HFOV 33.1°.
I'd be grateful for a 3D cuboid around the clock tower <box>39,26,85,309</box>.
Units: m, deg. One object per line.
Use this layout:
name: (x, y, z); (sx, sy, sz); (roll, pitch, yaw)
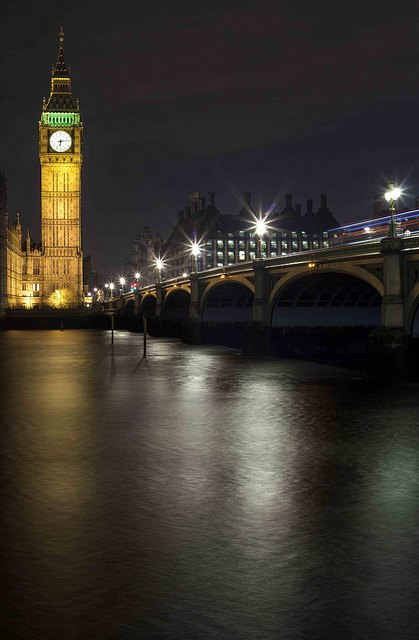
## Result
clock tower: (-42.132, -37.894, 199.183); (10.858, 68.950, 22.098); (0, -2, -13)
